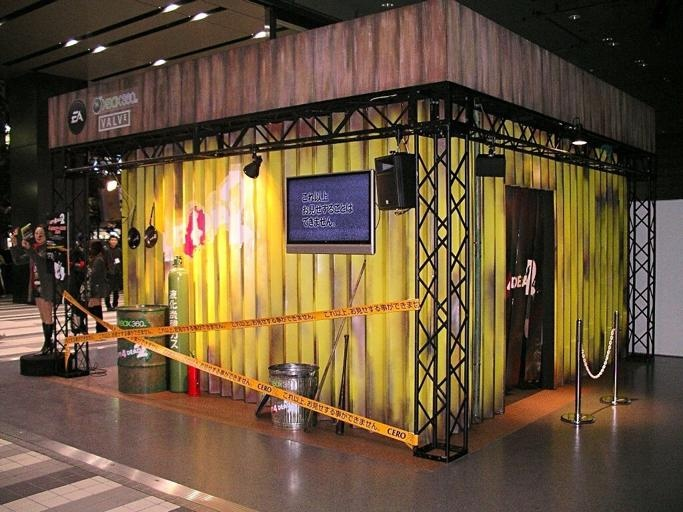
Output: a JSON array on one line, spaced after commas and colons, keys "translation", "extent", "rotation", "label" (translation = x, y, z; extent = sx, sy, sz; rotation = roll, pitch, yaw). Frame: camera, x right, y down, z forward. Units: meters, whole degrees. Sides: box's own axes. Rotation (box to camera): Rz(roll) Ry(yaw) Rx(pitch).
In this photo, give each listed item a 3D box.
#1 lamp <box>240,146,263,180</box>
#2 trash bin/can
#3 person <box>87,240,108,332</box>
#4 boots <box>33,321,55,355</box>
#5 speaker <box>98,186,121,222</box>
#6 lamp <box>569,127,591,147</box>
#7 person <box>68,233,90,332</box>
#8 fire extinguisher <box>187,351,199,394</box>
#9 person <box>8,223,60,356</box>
[{"translation": [-1.243, -1.286, 10.414], "extent": [0.277, 0.469, 0.454], "rotation": [-1, 10, -8], "label": "lamp"}, {"translation": [-0.604, 1.835, 9.785], "extent": [0.677, 0.769, 0.690], "rotation": [1, -1, -35], "label": "trash bin/can"}, {"translation": [-4.426, 0.409, 13.353], "extent": [0.334, 1.328, 0.635], "rotation": [-3, 10, -18], "label": "person"}, {"translation": [-4.897, 1.364, 12.283], "extent": [0.246, 0.557, 0.688], "rotation": [-4, 11, -23], "label": "boots"}, {"translation": [-3.690, -0.798, 11.766], "extent": [0.322, 0.544, 0.227], "rotation": [-3, 10, -19], "label": "speaker"}, {"translation": [3.467, -1.726, 10.796], "extent": [0.320, 0.395, 0.326], "rotation": [-1, 1, 24], "label": "lamp"}, {"translation": [-4.647, 0.377, 13.001], "extent": [0.331, 1.552, 2.456], "rotation": [-3, 11, -20], "label": "person"}, {"translation": [-2.203, 1.858, 10.984], "extent": [0.182, 0.442, 0.219], "rotation": [-2, 9, -13], "label": "fire extinguisher"}, {"translation": [-5.135, 0.610, 12.362], "extent": [0.629, 2.172, 1.492], "rotation": [-4, 10, -25], "label": "person"}]
